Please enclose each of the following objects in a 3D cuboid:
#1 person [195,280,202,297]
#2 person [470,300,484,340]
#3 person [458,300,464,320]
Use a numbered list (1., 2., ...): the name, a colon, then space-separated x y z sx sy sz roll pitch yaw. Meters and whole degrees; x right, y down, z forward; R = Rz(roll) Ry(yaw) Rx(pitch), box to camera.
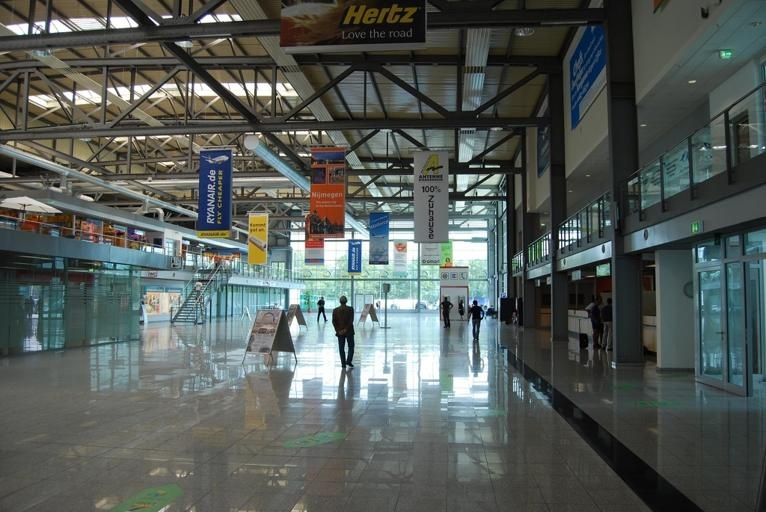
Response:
1. person: -13.053 2.294 37.250 0.523 1.225 1.596 3 -10 -19
2. person: 4.123 2.803 23.212 0.454 1.813 1.042 -2 -10 8
3. person: 5.786 3.887 38.425 0.476 1.343 0.375 8 -13 -42
